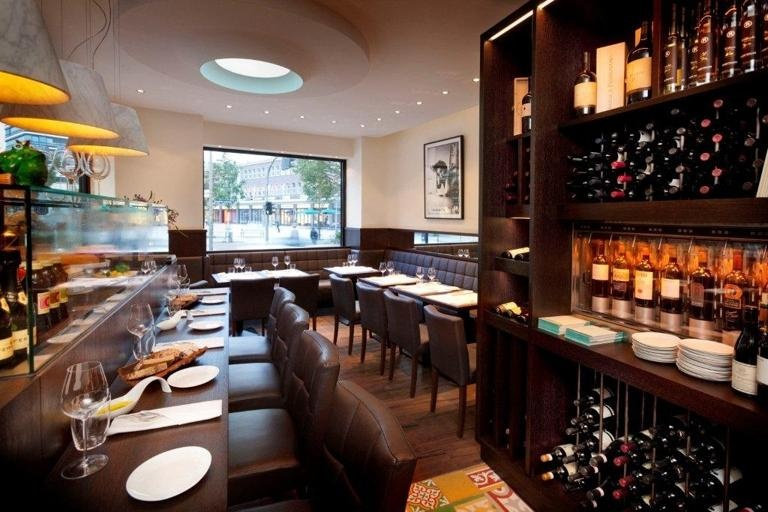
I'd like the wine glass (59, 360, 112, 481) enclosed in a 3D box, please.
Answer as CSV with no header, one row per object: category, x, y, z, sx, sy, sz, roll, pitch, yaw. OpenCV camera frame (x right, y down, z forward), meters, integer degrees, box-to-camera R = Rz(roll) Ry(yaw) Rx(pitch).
wine glass,-1.385,0.734,2.308,0.210,0.505,0.239,-6,7,-34

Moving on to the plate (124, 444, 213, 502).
plate,-0.959,0.979,2.247,0.340,0.111,0.214,-4,6,-25

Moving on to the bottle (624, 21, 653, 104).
bottle,1.524,-1.159,3.000,0.135,0.493,0.174,1,7,24

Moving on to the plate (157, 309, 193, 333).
plate,-1.569,0.500,3.784,0.084,0.105,0.272,-4,15,12

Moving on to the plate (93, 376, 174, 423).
plate,-1.332,0.743,2.621,0.112,0.099,0.372,3,6,15

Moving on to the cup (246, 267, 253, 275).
cup,-2.106,0.241,7.955,0.129,0.084,0.128,-1,0,0

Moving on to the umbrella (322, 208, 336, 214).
umbrella,-1.031,-0.831,9.259,0.309,0.101,0.043,-7,8,-41

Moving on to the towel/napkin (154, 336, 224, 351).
towel/napkin,-1.306,0.579,3.394,0.476,0.021,0.141,3,8,13

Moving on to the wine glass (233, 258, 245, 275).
wine glass,-2.077,0.149,7.183,0.122,0.346,0.220,-2,4,-15

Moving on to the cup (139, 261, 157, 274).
cup,-1.868,0.091,3.974,0.099,0.150,0.098,1,9,0
